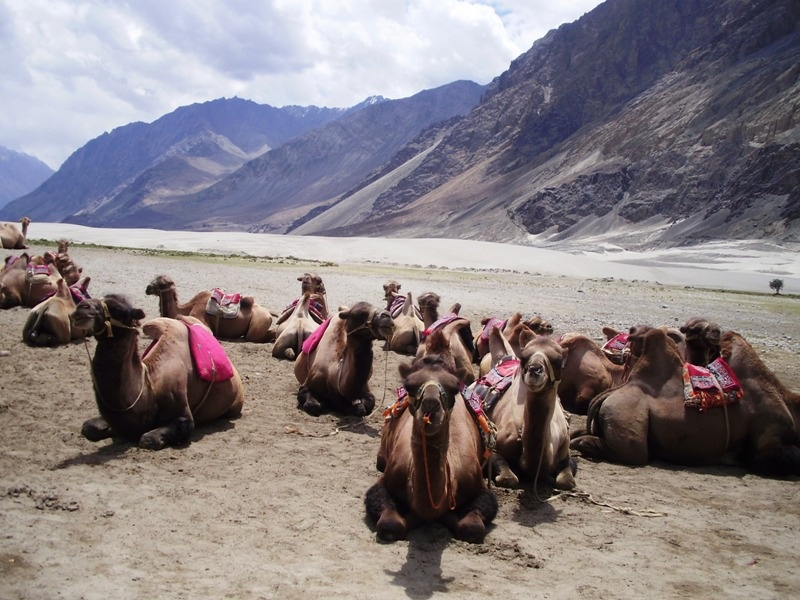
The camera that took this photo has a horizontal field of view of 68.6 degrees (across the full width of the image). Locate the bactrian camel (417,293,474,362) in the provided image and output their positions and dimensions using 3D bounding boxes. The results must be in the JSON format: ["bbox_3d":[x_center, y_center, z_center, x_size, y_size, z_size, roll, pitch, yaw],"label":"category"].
[{"bbox_3d":[0.824,0.240,10.753,0.556,1.105,1.820,-7,25,-7],"label":"bactrian camel"}]

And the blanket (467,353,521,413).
[{"bbox_3d":[1.324,1.070,7.952,0.319,0.489,0.867,29,26,-11],"label":"blanket"}]

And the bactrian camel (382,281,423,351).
[{"bbox_3d":[0.061,0.410,13.304,0.500,0.969,1.720,-2,26,-8],"label":"bactrian camel"}]

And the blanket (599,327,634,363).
[{"bbox_3d":[3.419,0.704,9.208,0.296,0.533,0.918,2,-3,7],"label":"blanket"}]

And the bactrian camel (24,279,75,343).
[{"bbox_3d":[-6.194,0.273,10.411,0.490,0.977,0.954,6,15,13],"label":"bactrian camel"}]

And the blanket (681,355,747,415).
[{"bbox_3d":[3.835,1.027,7.194,0.574,0.261,0.601,-6,45,-4],"label":"blanket"}]

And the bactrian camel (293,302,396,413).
[{"bbox_3d":[-0.889,0.797,8.704,1.005,1.839,2.236,-5,17,-28],"label":"bactrian camel"}]

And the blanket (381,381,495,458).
[{"bbox_3d":[0.493,1.330,7.067,0.708,0.769,1.392,-1,13,-13],"label":"blanket"}]

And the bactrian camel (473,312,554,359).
[{"bbox_3d":[1.837,0.563,9.970,0.600,1.007,1.818,3,-6,-44],"label":"bactrian camel"}]

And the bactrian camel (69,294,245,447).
[{"bbox_3d":[-2.885,0.831,7.091,0.744,2.032,1.917,7,15,16],"label":"bactrian camel"}]
